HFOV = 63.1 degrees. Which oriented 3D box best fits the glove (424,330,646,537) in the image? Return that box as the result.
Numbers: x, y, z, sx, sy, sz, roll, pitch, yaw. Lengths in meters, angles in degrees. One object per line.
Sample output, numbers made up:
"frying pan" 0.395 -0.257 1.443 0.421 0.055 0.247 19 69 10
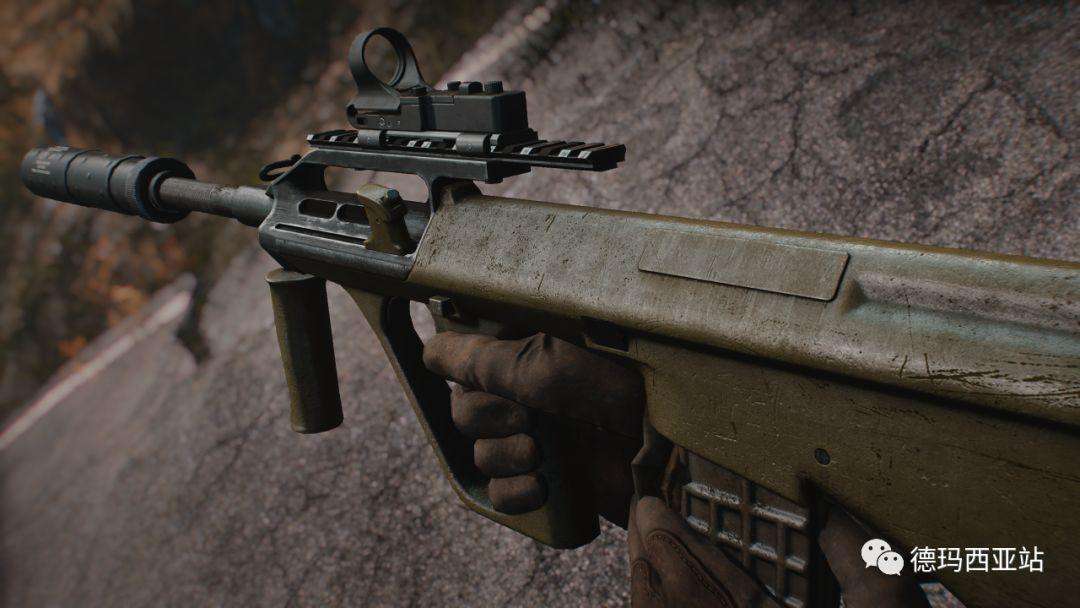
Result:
"glove" 0.022 0.239 1.911 0.713 0.179 0.356 12 94 42
